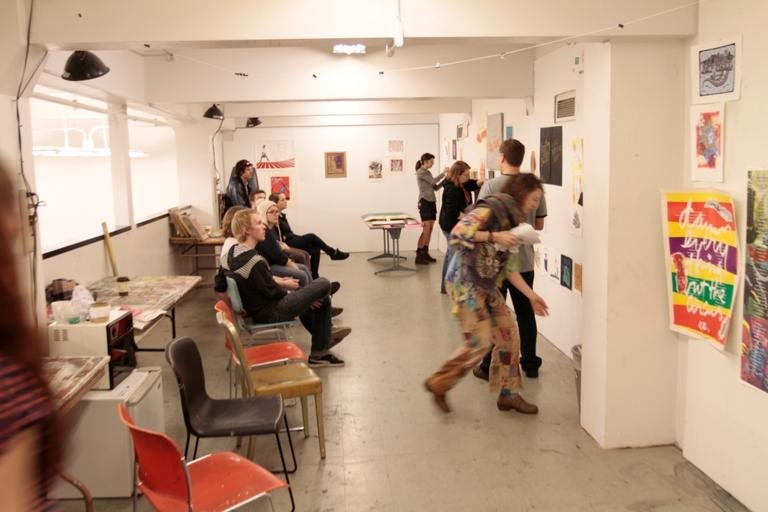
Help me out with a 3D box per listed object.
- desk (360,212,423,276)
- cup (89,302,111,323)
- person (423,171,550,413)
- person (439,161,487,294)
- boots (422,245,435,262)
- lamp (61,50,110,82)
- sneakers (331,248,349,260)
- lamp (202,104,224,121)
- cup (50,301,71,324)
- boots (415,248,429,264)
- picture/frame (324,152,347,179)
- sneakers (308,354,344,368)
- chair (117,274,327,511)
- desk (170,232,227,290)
[{"bbox_3d":[0.151,-0.286,10.854,0.870,0.858,1.603,10,-2,3],"label":"desk"},{"bbox_3d":[-1.961,0.399,3.698,0.131,0.104,0.130,2,-4,0],"label":"cup"},{"bbox_3d":[0.794,0.374,4.188,0.967,1.997,0.561,-3,13,-4],"label":"person"},{"bbox_3d":[1.274,-0.479,8.091,1.001,1.804,0.723,-11,21,-19],"label":"person"},{"bbox_3d":[0.860,-0.028,10.776,0.399,0.363,0.164,-4,11,-26],"label":"boots"},{"bbox_3d":[-2.593,-1.622,4.715,0.375,0.229,0.380,16,24,41],"label":"lamp"},{"bbox_3d":[-0.718,-0.013,8.808,0.357,0.159,0.118,-5,12,-33],"label":"sneakers"},{"bbox_3d":[-2.666,-2.272,8.341,0.226,0.200,0.440,-4,12,-10],"label":"lamp"},{"bbox_3d":[-2.247,0.395,3.762,0.142,0.144,0.180,1,-4,21],"label":"cup"},{"bbox_3d":[0.751,0.042,10.657,0.353,0.327,0.182,-1,7,-12],"label":"boots"},{"bbox_3d":[-1.091,-2.044,11.858,0.590,0.648,0.089,0,6,-5],"label":"picture/frame"},{"bbox_3d":[-0.610,1.093,5.617,0.401,0.173,0.146,1,2,-7],"label":"sneakers"},{"bbox_3d":[-0.953,0.908,3.700,1.098,1.417,1.399,-2,8,-8],"label":"chair"},{"bbox_3d":[-3.201,0.043,8.991,0.886,1.024,1.092,0,8,-4],"label":"desk"}]
